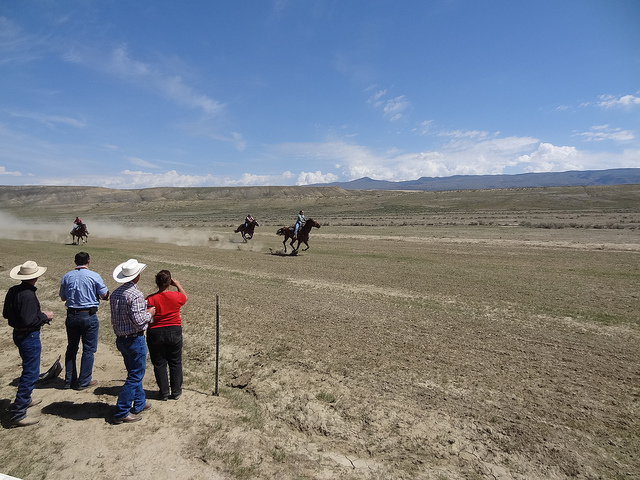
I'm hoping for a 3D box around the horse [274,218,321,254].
[{"bbox_3d":[-1.634,-0.233,23.936,3.465,2.346,0.887,3,-1,33],"label":"horse"}]

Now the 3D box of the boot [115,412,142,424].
[{"bbox_3d":[-3.648,3.388,6.693,0.424,0.181,0.151,2,-2,-21],"label":"boot"}]

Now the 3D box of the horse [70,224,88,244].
[{"bbox_3d":[-18.807,-0.500,27.498,0.897,1.609,2.066,-8,13,-35],"label":"horse"}]

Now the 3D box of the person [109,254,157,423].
[{"bbox_3d":[-3.677,1.908,6.975,0.855,3.017,1.321,-3,12,-18],"label":"person"}]

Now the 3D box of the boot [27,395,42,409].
[{"bbox_3d":[-5.787,3.244,7.147,0.218,0.089,0.401,-7,13,-35],"label":"boot"}]
